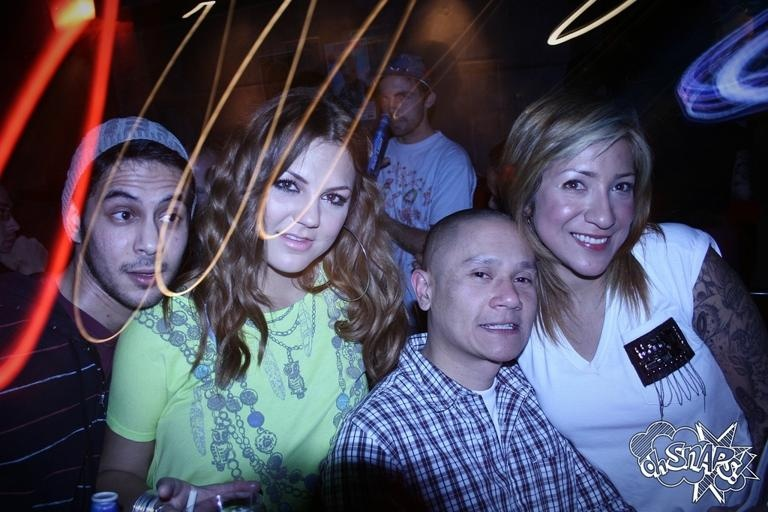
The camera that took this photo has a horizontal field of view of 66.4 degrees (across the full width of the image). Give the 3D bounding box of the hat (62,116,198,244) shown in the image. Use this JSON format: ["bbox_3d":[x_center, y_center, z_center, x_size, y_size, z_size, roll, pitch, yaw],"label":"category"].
[{"bbox_3d":[-1.711,-0.689,3.914,0.674,0.476,0.874,21,-54,-39],"label":"hat"}]
